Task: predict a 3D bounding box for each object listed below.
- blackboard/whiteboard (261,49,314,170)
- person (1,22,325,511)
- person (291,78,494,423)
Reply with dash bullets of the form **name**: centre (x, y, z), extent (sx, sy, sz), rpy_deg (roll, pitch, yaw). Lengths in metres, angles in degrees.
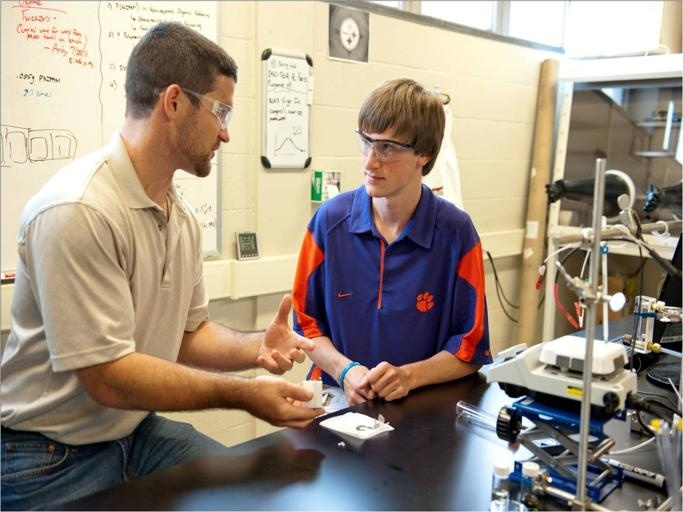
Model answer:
- **blackboard/whiteboard**: centre (-0.323, -0.825, 2.861), extent (0.293, 0.660, 0.052), rpy_deg (-7, 15, -44)
- **person**: centre (-0.613, 0.120, 1.654), extent (0.745, 1.741, 0.835), rpy_deg (17, 11, 41)
- **person**: centre (0.176, 0.052, 2.054), extent (0.564, 1.387, 0.657), rpy_deg (5, 12, -1)
